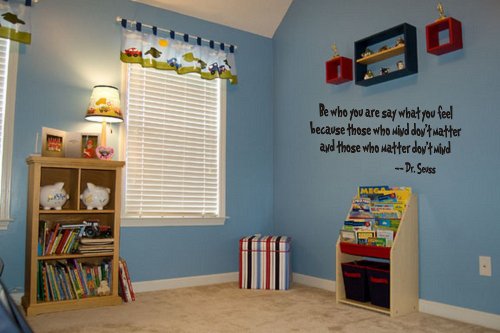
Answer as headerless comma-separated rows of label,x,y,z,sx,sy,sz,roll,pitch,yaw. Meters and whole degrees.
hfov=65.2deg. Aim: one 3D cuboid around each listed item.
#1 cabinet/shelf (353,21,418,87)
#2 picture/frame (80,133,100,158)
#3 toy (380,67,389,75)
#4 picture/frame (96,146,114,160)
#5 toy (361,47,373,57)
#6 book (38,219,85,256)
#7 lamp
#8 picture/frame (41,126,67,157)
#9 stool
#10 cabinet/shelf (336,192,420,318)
cabinet/shelf,1.481,-1.187,4.206,0.231,0.601,0.751,5,-8,-39
picture/frame,-1.710,-0.189,4.267,0.233,0.311,0.180,0,-5,-1
toy,1.445,-1.012,4.194,0.069,0.069,0.098,-1,2,9
picture/frame,-1.545,-0.144,4.170,0.161,0.142,0.074,5,-7,-24
toy,1.295,-1.251,4.313,0.113,0.044,0.113,18,45,21
book,-1.931,0.720,4.014,0.418,0.346,0.146,-1,2,-23
lamp,-1.618,-0.570,4.354,0.390,0.696,0.412,-1,2,-19
picture/frame,-2.021,-0.243,4.036,0.319,0.429,0.046,3,-9,-38
stool,0.205,1.167,4.836,0.640,0.611,0.377,-2,-6,18
cabinet/shelf,1.326,0.830,4.053,0.739,1.228,0.490,2,3,40
